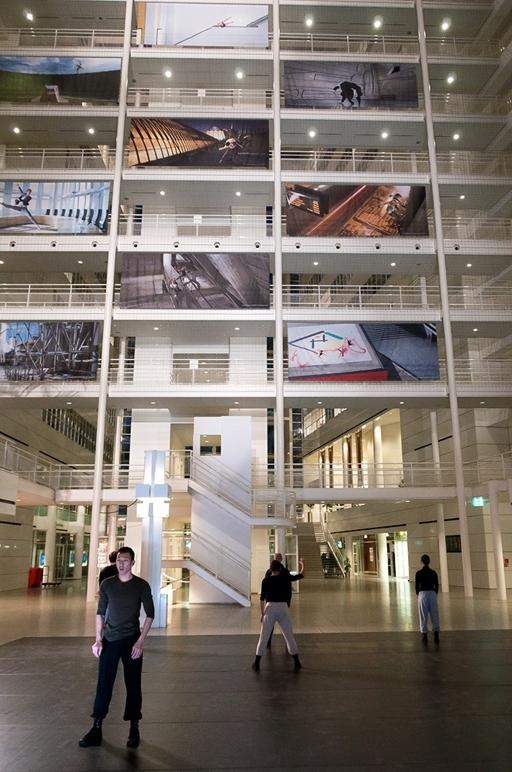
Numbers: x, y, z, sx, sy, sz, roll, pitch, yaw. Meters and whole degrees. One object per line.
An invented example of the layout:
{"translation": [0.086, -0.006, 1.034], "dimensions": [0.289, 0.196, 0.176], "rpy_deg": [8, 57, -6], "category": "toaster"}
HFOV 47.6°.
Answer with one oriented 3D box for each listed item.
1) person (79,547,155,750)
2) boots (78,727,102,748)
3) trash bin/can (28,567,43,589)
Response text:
{"translation": [-1.056, 1.973, 4.455], "dimensions": [0.483, 1.412, 0.629], "rpy_deg": [4, -15, -15], "category": "person"}
{"translation": [-1.219, 2.583, 4.281], "dimensions": [0.161, 0.129, 0.224], "rpy_deg": [3, -14, -13], "category": "boots"}
{"translation": [-10.764, 9.340, 28.249], "dimensions": [0.703, 0.999, 0.740], "rpy_deg": [2, -11, -9], "category": "trash bin/can"}
